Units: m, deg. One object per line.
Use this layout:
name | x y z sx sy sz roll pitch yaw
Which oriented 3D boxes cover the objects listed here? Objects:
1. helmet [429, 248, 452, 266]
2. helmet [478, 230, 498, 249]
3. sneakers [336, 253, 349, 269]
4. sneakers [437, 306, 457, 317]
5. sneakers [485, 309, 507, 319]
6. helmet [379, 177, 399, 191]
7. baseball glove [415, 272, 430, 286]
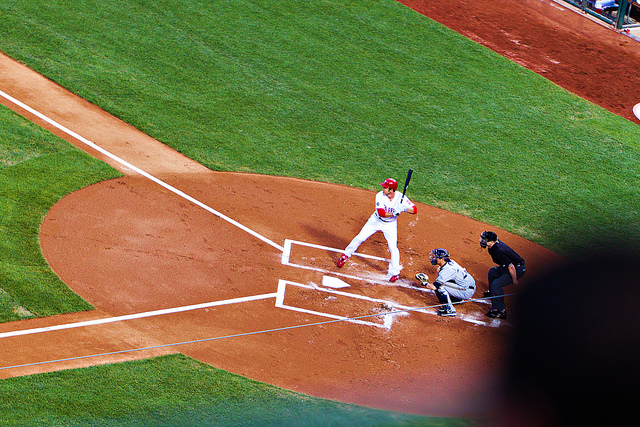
helmet | 3.070 1.036 26.501 0.498 0.323 0.379 20 30 18
helmet | 4.375 0.602 26.711 0.503 0.408 0.364 20 30 9
sneakers | 0.562 1.198 26.967 0.234 0.368 0.085 37 24 -9
sneakers | 3.204 2.454 26.389 0.614 0.222 0.158 3 70 2
sneakers | 4.454 2.521 26.441 0.510 0.200 0.190 4 47 -1
helmet | 1.750 -0.759 26.495 0.464 0.177 0.274 4 28 0
baseball glove | 2.641 1.659 26.795 0.202 0.165 0.433 17 11 -46
